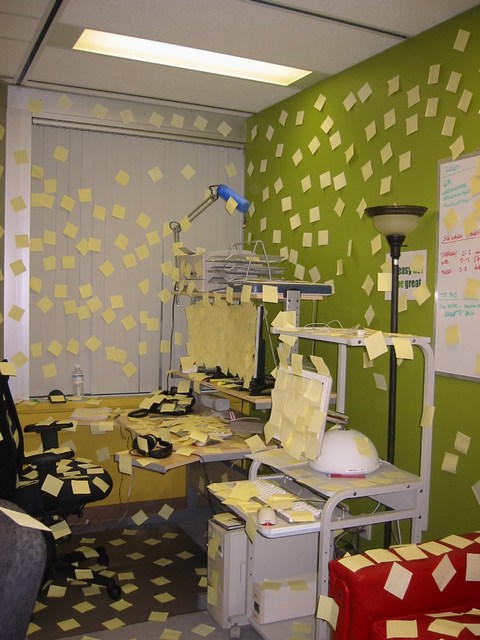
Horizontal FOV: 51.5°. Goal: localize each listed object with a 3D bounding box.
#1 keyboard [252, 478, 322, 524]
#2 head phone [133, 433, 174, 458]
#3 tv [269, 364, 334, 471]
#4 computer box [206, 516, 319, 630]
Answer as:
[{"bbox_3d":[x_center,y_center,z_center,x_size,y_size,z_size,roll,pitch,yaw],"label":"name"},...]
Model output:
[{"bbox_3d":[0.141,0.573,1.559,0.156,0.019,0.337,3,-2,-30],"label":"keyboard"},{"bbox_3d":[-0.353,0.516,2.060,0.128,0.071,0.091,14,13,40],"label":"head phone"},{"bbox_3d":[0.206,0.338,1.707,0.055,0.347,0.391,8,4,-18],"label":"tv"},{"bbox_3d":[0.079,1.011,2.050,0.383,0.388,0.227,1,1,-17],"label":"computer box"}]
